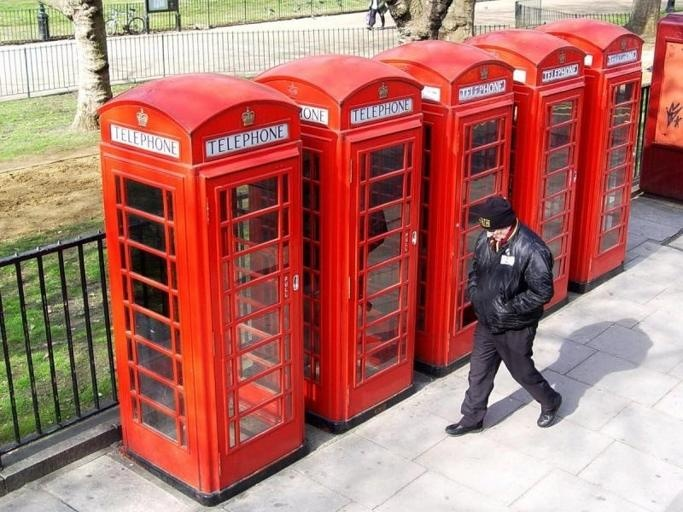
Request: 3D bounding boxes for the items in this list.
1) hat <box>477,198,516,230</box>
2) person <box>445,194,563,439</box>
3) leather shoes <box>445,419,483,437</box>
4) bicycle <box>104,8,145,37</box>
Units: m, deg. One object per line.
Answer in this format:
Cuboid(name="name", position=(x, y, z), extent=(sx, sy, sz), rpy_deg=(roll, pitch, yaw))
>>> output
Cuboid(name="hat", position=(1.208, -0.360, 5.309), extent=(0.267, 0.203, 0.268), rpy_deg=(-8, 20, 16))
Cuboid(name="person", position=(1.317, 0.575, 5.557), extent=(0.872, 1.810, 0.566), rpy_deg=(-4, 26, 0))
Cuboid(name="leather shoes", position=(1.014, 1.449, 5.709), extent=(0.317, 0.111, 0.120), rpy_deg=(-2, 15, -9))
Cuboid(name="bicycle", position=(-8.531, -9.405, 27.372), extent=(1.496, 0.925, 1.971), rpy_deg=(-5, 24, -5))
